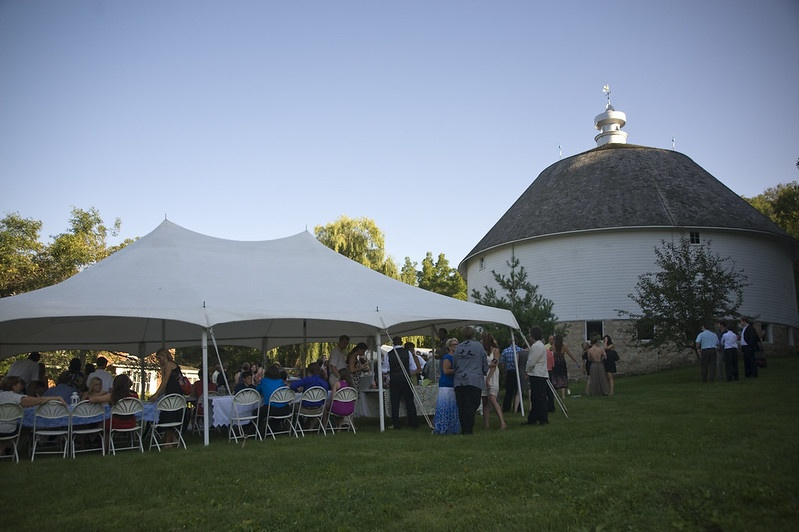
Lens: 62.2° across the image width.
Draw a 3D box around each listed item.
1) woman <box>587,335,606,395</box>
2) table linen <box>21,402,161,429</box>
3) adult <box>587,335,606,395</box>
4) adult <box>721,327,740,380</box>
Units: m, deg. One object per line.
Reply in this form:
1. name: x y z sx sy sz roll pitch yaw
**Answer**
1. woman: 6.709 3.378 22.455 0.676 2.030 0.827 1 7 17
2. table linen: -7.169 3.432 15.367 2.740 0.748 0.575 -3 6 -11
3. adult: 6.722 3.353 22.611 0.592 1.925 0.501 -8 19 11
4. adult: 11.503 3.048 23.040 0.572 1.978 1.496 2 7 27
